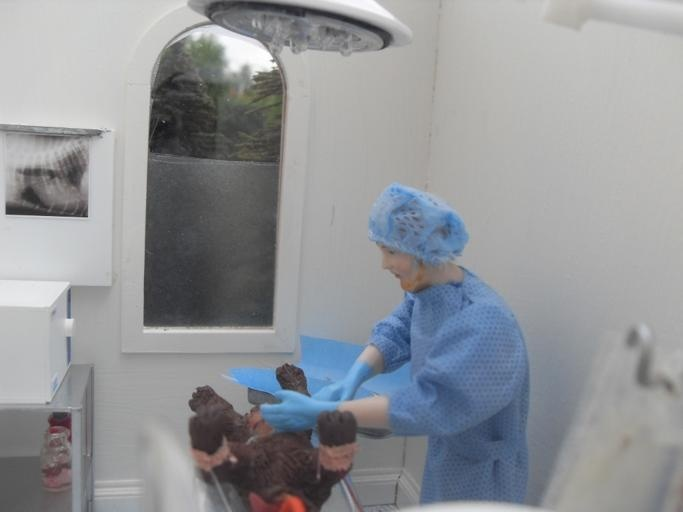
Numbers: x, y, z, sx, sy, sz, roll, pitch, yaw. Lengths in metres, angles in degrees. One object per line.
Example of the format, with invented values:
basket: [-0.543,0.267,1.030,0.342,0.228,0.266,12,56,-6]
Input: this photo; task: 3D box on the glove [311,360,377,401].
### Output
glove: [0.016,0.352,2.266,0.074,0.076,0.236,-4,17,44]

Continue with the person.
person: [0.212,0.252,2.690,0.820,1.604,0.677,0,1,1]
